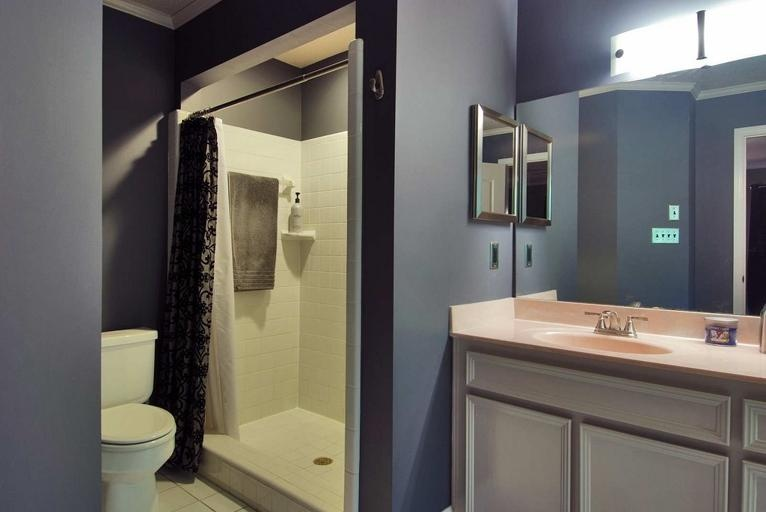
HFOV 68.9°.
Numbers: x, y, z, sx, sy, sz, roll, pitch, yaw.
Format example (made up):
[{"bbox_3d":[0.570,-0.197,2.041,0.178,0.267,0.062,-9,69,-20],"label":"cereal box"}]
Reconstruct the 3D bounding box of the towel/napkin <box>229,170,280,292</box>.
[{"bbox_3d":[-0.944,-0.159,4.124,0.467,0.849,0.096,3,3,24],"label":"towel/napkin"}]

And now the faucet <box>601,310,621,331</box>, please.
[{"bbox_3d":[1.268,0.363,3.087,0.112,0.119,0.070,-6,4,-37],"label":"faucet"}]

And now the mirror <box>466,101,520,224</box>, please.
[{"bbox_3d":[0.652,-0.523,3.245,0.390,0.652,0.078,-2,3,-39],"label":"mirror"}]
